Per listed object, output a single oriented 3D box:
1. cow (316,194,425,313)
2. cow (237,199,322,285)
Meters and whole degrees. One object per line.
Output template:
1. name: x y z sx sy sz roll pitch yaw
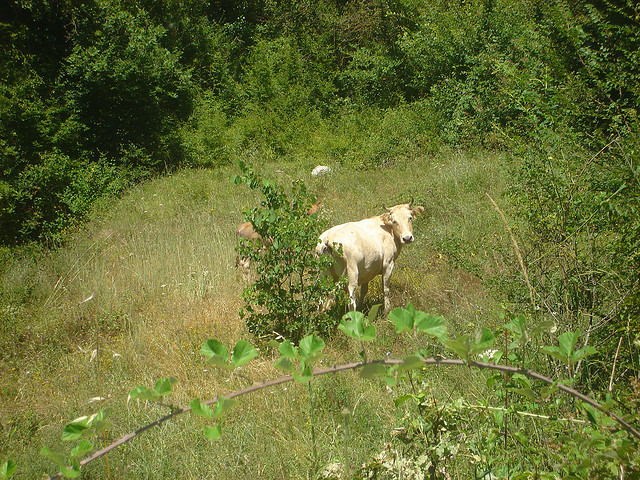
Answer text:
1. cow: 1.018 0.403 12.941 0.941 2.256 2.715 0 10 41
2. cow: -0.686 0.088 11.423 0.557 1.394 1.747 20 36 34
